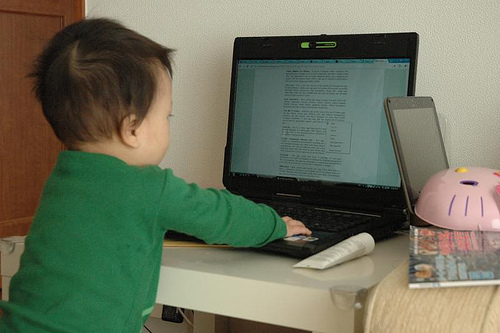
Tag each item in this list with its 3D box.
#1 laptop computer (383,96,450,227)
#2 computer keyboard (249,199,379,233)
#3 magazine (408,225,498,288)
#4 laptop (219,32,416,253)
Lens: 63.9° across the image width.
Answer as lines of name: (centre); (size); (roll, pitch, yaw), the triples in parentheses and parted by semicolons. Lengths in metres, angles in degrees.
laptop computer: (0.363, -0.023, 0.877); (0.079, 0.252, 0.245); (2, 1, 35)
computer keyboard: (0.127, 0.111, 0.913); (0.277, 0.044, 0.160); (2, 2, 30)
magazine: (0.322, 0.142, 0.631); (0.136, 0.079, 0.180); (2, 1, 21)
laptop: (0.206, -0.147, 1.215); (0.644, 0.455, 0.567); (9, 23, 31)
